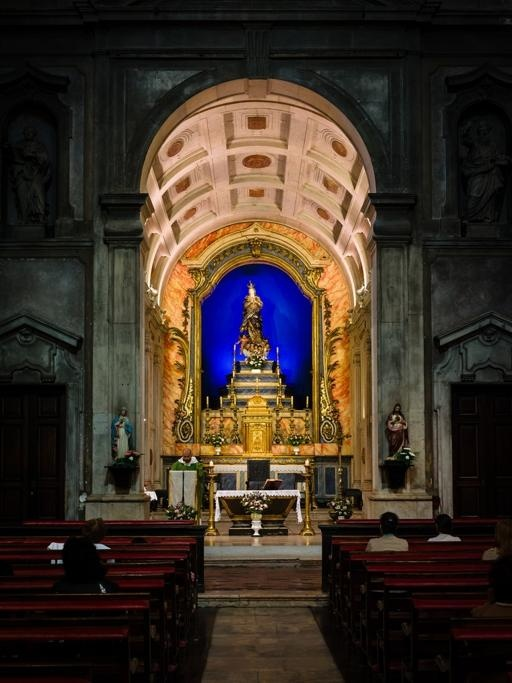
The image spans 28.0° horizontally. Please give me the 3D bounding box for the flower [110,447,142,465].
[{"bbox_3d":[-1.975,1.775,15.570,0.408,0.266,0.418,1,-7,-9],"label":"flower"}]

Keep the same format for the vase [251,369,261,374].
[{"bbox_3d":[0.034,0.791,27.116,0.210,0.220,0.118,1,-6,2],"label":"vase"}]

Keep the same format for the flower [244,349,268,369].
[{"bbox_3d":[0.020,0.523,27.289,0.570,0.506,0.243,0,-7,-2],"label":"flower"}]

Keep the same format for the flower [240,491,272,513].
[{"bbox_3d":[0.000,2.782,17.680,0.381,0.361,0.365,5,-8,-28],"label":"flower"}]

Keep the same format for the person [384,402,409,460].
[{"bbox_3d":[2.161,1.371,15.695,0.349,0.792,0.281,-1,-7,7],"label":"person"}]

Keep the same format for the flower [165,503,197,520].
[{"bbox_3d":[-1.080,2.496,15.086,0.354,0.223,0.367,4,-13,-1],"label":"flower"}]

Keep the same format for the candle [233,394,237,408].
[{"bbox_3d":[-0.530,1.578,26.759,0.087,0.322,0.155,0,-7,-1],"label":"candle"}]

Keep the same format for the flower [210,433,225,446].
[{"bbox_3d":[-0.938,2.427,25.339,0.295,0.319,0.308,-2,-4,12],"label":"flower"}]

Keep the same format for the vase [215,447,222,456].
[{"bbox_3d":[-0.957,2.730,25.505,0.192,0.275,0.199,1,-7,17],"label":"vase"}]

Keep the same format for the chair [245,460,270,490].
[{"bbox_3d":[0.054,3.130,24.258,0.560,0.871,0.602,0,-8,1],"label":"chair"}]

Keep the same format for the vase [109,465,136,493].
[{"bbox_3d":[-2.028,2.076,15.568,0.420,0.430,0.434,0,-13,-3],"label":"vase"}]

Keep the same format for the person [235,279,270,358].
[{"bbox_3d":[-0.020,-0.477,27.750,0.701,2.363,0.888,3,-8,-29],"label":"person"}]

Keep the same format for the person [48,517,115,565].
[{"bbox_3d":[-1.553,1.768,9.087,0.357,0.290,0.871,1,-22,-19],"label":"person"}]

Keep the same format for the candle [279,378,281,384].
[{"bbox_3d":[0.658,1.062,27.023,0.037,0.127,0.125,-5,-8,32],"label":"candle"}]

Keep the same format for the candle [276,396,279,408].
[{"bbox_3d":[0.595,1.596,26.775,0.106,0.286,0.128,0,-7,0],"label":"candle"}]

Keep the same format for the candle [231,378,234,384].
[{"bbox_3d":[-0.585,1.048,26.924,0.093,0.147,0.081,0,-7,-7],"label":"candle"}]

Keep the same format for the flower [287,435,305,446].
[{"bbox_3d":[1.021,2.519,25.987,0.278,0.222,0.312,0,-5,8],"label":"flower"}]

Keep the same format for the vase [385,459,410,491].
[{"bbox_3d":[2.182,2.046,15.729,0.439,0.570,0.460,0,-1,-2],"label":"vase"}]

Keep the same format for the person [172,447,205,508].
[{"bbox_3d":[-1.120,2.222,16.465,0.496,0.840,0.527,-4,-16,20],"label":"person"}]

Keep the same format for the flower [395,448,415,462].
[{"bbox_3d":[2.308,1.735,15.612,0.241,0.233,0.416,-4,-8,27],"label":"flower"}]
